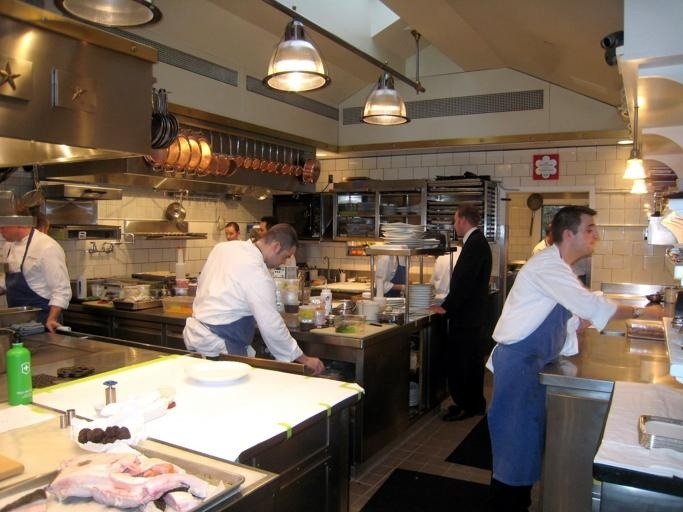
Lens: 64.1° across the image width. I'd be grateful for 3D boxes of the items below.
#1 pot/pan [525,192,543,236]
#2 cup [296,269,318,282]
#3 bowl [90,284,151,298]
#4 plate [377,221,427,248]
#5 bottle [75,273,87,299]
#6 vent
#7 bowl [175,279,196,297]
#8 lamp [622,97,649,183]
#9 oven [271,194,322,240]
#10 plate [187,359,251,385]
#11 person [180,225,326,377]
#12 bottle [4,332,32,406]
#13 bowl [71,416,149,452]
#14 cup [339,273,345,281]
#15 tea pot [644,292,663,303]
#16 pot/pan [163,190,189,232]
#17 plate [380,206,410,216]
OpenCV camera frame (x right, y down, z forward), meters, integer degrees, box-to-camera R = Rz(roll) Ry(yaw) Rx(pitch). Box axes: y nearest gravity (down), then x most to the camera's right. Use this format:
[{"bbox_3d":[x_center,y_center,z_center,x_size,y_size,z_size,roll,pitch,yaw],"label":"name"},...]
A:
[{"bbox_3d":[3.639,-0.794,10.354,0.301,0.729,0.111,21,32,31],"label":"pot/pan"},{"bbox_3d":[-0.508,0.273,8.394,0.177,0.177,0.282,-1,1,-38],"label":"cup"},{"bbox_3d":[-2.244,0.359,5.695,0.351,0.079,0.249,1,1,36],"label":"bowl"},{"bbox_3d":[0.566,-0.199,4.947,0.392,0.213,0.272,3,9,4],"label":"plate"},{"bbox_3d":[-2.836,0.329,5.941,0.111,0.265,0.197,-2,10,-25],"label":"bottle"},{"bbox_3d":[-2.736,-0.449,5.734,0.414,0.553,0.719,2,4,21],"label":"vent"},{"bbox_3d":[-1.606,0.331,5.609,0.208,0.125,0.261,1,1,-11],"label":"bowl"},{"bbox_3d":[2.211,-0.786,4.047,0.148,0.419,2.172,7,10,27],"label":"lamp"},{"bbox_3d":[-0.782,-0.618,8.467,0.829,0.703,0.463,-2,8,-28],"label":"oven"},{"bbox_3d":[-0.701,0.652,3.080,0.360,0.072,0.273,5,9,16],"label":"plate"},{"bbox_3d":[-0.679,0.290,3.898,0.947,1.017,0.474,2,9,-4],"label":"person"},{"bbox_3d":[-1.617,0.578,2.732,0.112,0.326,0.186,-3,11,-32],"label":"bottle"},{"bbox_3d":[-0.976,0.748,2.289,0.285,0.105,0.140,-1,9,-20],"label":"bowl"},{"bbox_3d":[0.032,0.325,8.471,0.107,0.163,0.105,1,-4,0],"label":"cup"},{"bbox_3d":[3.281,0.439,5.692,0.186,0.073,0.190,-2,1,0],"label":"tea pot"},{"bbox_3d":[-2.094,-0.562,6.929,0.080,0.455,0.335,-6,1,25],"label":"pot/pan"},{"bbox_3d":[0.737,-0.638,7.740,0.384,0.118,0.051,4,9,8],"label":"plate"}]
